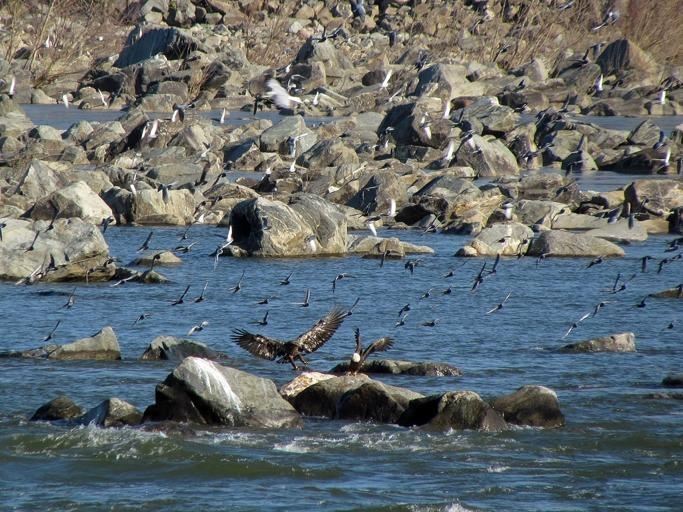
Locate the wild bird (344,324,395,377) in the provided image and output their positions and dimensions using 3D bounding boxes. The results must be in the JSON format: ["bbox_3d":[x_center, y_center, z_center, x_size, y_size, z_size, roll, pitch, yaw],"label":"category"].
[{"bbox_3d":[0.764,3.050,61.337,1.568,1.495,1.192,-5,12,-38],"label":"wild bird"}]
